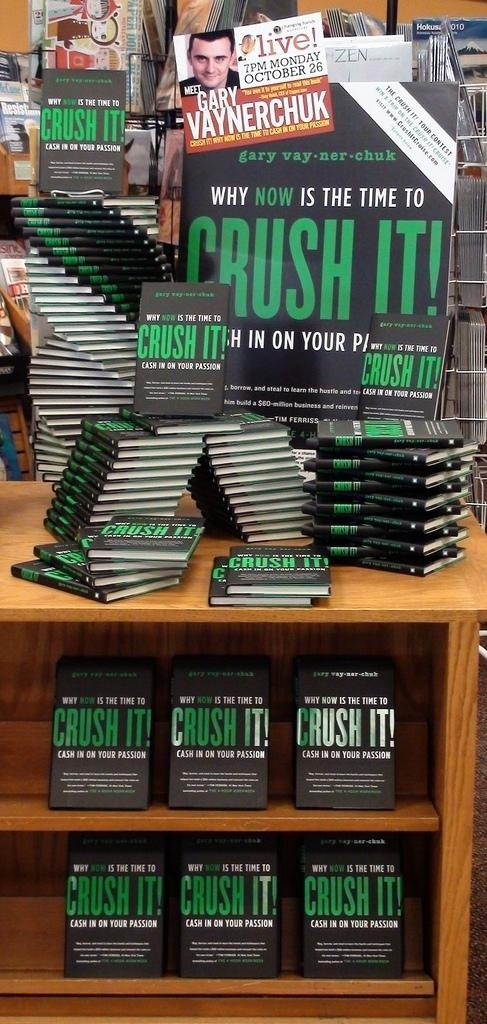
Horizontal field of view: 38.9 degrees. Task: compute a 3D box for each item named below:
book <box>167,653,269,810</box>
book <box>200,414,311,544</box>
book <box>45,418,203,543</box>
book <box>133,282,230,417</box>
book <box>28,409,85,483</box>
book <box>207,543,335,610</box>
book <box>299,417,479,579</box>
[{"bbox_3d":[-0.041,0.367,1.126,0.145,0.300,0.026,0,-14,3],"label":"book"},{"bbox_3d":[0.020,-0.146,1.239,0.142,0.258,0.311,-2,19,-9],"label":"book"},{"bbox_3d":[-0.226,-0.083,1.236,0.159,0.202,0.258,-4,15,-21],"label":"book"},{"bbox_3d":[-0.113,-0.302,1.278,0.174,0.245,0.132,-3,10,-2],"label":"book"},{"bbox_3d":[-0.396,-0.144,1.433,0.094,0.062,0.153,1,13,-5],"label":"book"},{"bbox_3d":[0.037,0.089,1.058,0.183,0.042,0.238,-2,14,6],"label":"book"},{"bbox_3d":[0.238,-0.069,1.128,0.209,0.226,0.240,-17,21,-39],"label":"book"}]
